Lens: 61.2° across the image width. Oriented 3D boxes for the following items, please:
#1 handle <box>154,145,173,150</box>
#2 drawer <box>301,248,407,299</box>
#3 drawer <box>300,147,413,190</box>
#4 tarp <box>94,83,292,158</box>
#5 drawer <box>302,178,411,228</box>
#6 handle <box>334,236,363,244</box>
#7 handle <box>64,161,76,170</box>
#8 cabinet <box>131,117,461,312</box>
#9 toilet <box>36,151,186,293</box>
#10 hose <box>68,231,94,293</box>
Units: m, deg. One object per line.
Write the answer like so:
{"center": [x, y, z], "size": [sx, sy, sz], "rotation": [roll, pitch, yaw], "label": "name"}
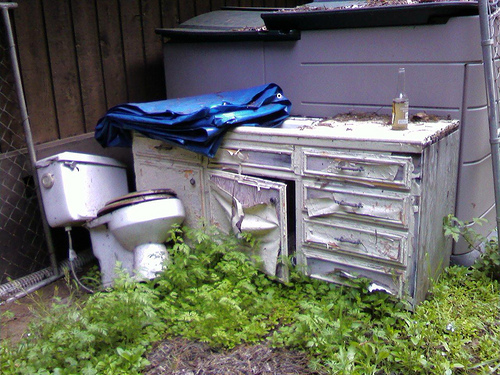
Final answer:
{"center": [-0.688, -0.318, 3.376], "size": [0.143, 0.050, 0.040], "rotation": [3, 3, 18], "label": "handle"}
{"center": [0.754, 0.463, 2.967], "size": [0.620, 0.264, 0.494], "rotation": [6, 17, 29], "label": "drawer"}
{"center": [0.644, -0.131, 2.654], "size": [0.713, 0.202, 0.043], "rotation": [10, 20, 26], "label": "drawer"}
{"center": [-0.424, -0.616, 3.648], "size": [1.375, 0.421, 1.376], "rotation": [0, 18, 19], "label": "tarp"}
{"center": [0.714, 0.046, 2.751], "size": [0.621, 0.288, 0.519], "rotation": [8, 16, 37], "label": "drawer"}
{"center": [0.649, 0.344, 2.775], "size": [0.124, 0.046, 0.026], "rotation": [3, -6, 1], "label": "handle"}
{"center": [-1.400, -0.172, 3.267], "size": [0.059, 0.061, 0.024], "rotation": [-18, 12, -22], "label": "handle"}
{"center": [0.174, -0.006, 3.407], "size": [2.369, 1.120, 1.056], "rotation": [9, 25, 29], "label": "cabinet"}
{"center": [-1.069, 0.231, 3.482], "size": [1.120, 1.122, 0.845], "rotation": [-10, 1, 28], "label": "toilet"}
{"center": [-1.380, 0.546, 3.453], "size": [0.210, 0.550, 0.177], "rotation": [20, 25, 32], "label": "hose"}
